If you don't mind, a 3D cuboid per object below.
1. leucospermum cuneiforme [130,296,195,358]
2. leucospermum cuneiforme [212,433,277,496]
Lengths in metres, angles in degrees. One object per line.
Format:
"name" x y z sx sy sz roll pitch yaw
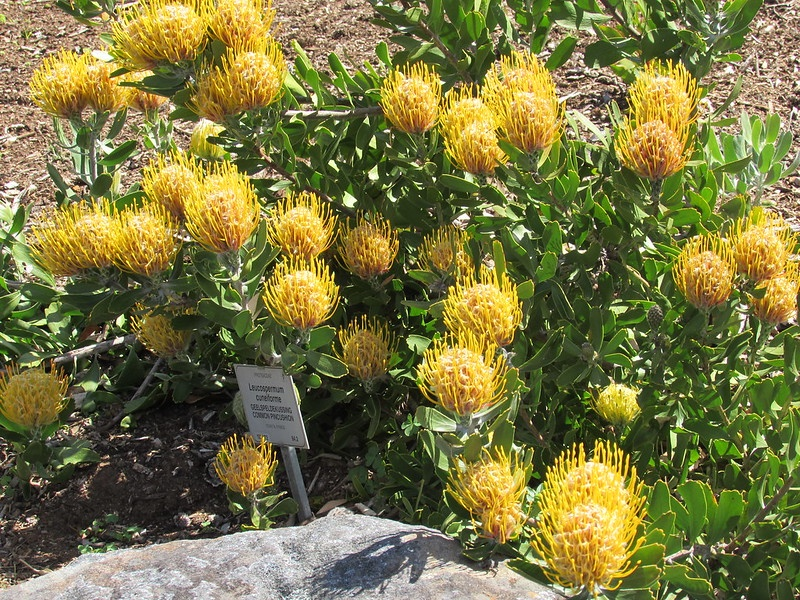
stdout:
"leucospermum cuneiforme" -0.959 0.106 3.050 0.157 0.165 0.161 -25 46 -20
"leucospermum cuneiforme" -0.590 0.643 2.884 0.173 0.183 0.180 -17 46 -17
